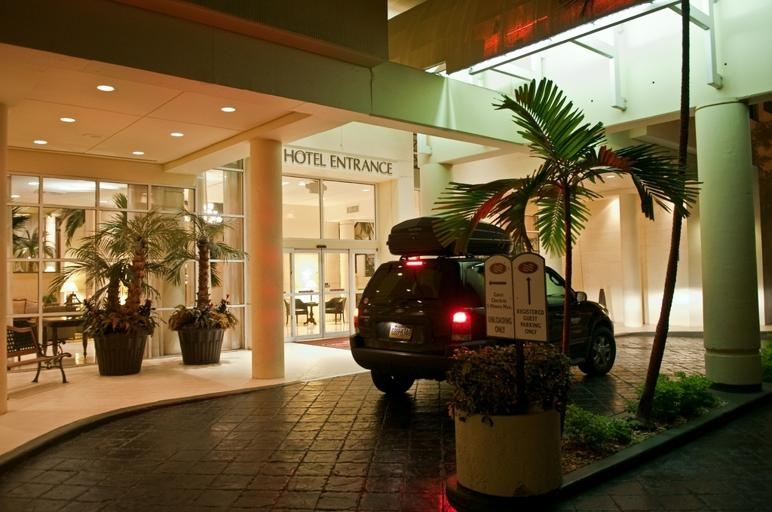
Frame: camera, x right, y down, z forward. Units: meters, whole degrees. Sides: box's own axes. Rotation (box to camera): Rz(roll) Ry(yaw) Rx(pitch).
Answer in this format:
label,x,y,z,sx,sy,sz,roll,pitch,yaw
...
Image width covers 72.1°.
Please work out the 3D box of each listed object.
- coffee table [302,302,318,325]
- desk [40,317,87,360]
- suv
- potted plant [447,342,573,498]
label,x,y,z,sx,sy,sz,roll,pitch,yaw
coffee table,-2.576,1.960,18.021,0.701,0.817,0.642,1,-6,-16
desk,-7.873,2.030,13.092,1.095,0.947,1.039,2,-9,-40
suv,2.322,0.662,9.823,5.073,2.501,2.732,-2,-1,-41
potted plant,1.345,1.724,5.799,1.259,1.556,0.737,-1,3,3
